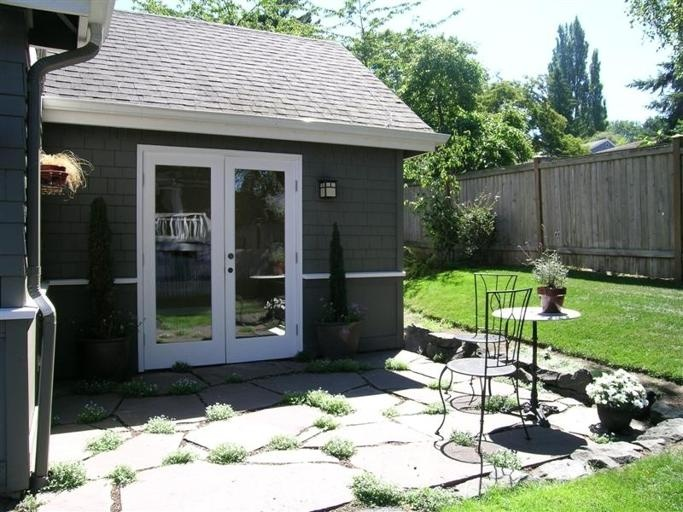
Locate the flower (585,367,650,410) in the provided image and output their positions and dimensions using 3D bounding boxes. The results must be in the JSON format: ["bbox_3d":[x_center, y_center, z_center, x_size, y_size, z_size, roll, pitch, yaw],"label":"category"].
[{"bbox_3d":[2.648,1.203,5.619,0.375,0.301,0.433,2,3,9],"label":"flower"}]

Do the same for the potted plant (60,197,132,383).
[{"bbox_3d":[-2.883,0.405,6.921,0.663,2.193,0.697,-6,10,-37],"label":"potted plant"}]

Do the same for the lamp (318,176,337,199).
[{"bbox_3d":[-0.203,-0.954,8.136,0.221,0.307,0.190,-4,9,-25],"label":"lamp"}]

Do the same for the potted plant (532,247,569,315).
[{"bbox_3d":[2.125,0.240,5.940,0.271,0.614,0.364,-1,0,5],"label":"potted plant"}]

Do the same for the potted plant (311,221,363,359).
[{"bbox_3d":[-0.042,0.475,7.867,0.498,1.792,0.498,5,9,32],"label":"potted plant"}]

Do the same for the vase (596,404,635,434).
[{"bbox_3d":[2.614,1.510,5.523,0.273,0.238,0.292,0,-9,3],"label":"vase"}]
